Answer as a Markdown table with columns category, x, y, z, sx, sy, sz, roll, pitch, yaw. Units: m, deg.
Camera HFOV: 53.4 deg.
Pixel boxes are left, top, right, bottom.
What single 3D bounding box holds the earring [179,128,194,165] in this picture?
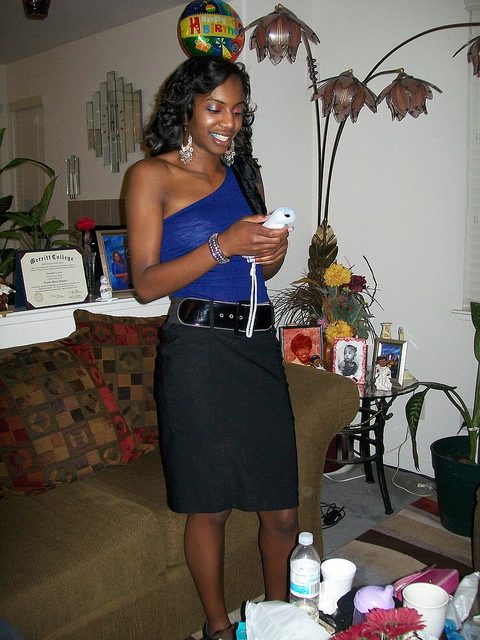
| category | x | y | z | sx | sy | sz | roll | pitch | yaw |
| --- | --- | --- | --- | --- | --- | --- | --- | --- | --- |
| earring | -0.113 | -0.366 | 1.013 | 0.025 | 0.069 | 0.017 | -7 | 11 | -37 |

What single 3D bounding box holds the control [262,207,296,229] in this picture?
| category | x | y | z | sx | sy | sz | roll | pitch | yaw |
| --- | --- | --- | --- | --- | --- | --- | --- | --- | --- |
| control | 0.072 | -0.184 | 0.857 | 0.049 | 0.036 | 0.023 | -30 | -16 | 0 |

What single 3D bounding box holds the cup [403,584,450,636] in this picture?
| category | x | y | z | sx | sy | sz | roll | pitch | yaw |
| --- | --- | --- | --- | --- | --- | --- | --- | --- | --- |
| cup | 0.253 | 0.387 | 0.651 | 0.057 | 0.049 | 0.087 | 3 | 10 | 23 |

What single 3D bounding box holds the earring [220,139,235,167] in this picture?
| category | x | y | z | sx | sy | sz | roll | pitch | yaw |
| --- | --- | --- | --- | --- | --- | --- | --- | --- | --- |
| earring | -0.023 | -0.393 | 1.135 | 0.028 | 0.069 | 0.083 | 2 | 9 | 14 |

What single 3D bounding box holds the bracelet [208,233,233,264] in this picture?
| category | x | y | z | sx | sy | sz | roll | pitch | yaw |
| --- | --- | --- | --- | --- | --- | --- | --- | --- | --- |
| bracelet | -0.043 | -0.125 | 0.872 | 0.020 | 0.051 | 0.043 | -30 | -28 | 26 |

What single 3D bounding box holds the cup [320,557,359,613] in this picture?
| category | x | y | z | sx | sy | sz | roll | pitch | yaw |
| --- | --- | --- | --- | --- | --- | --- | --- | --- | --- |
| cup | 0.150 | 0.411 | 0.771 | 0.065 | 0.063 | 0.062 | 1 | 6 | 0 |

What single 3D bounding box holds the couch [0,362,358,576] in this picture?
| category | x | y | z | sx | sy | sz | roll | pitch | yaw |
| --- | --- | --- | --- | --- | --- | --- | --- | --- | --- |
| couch | -0.196 | 0.372 | 1.211 | 0.321 | 0.300 | 0.733 | 11 | 25 | 34 |

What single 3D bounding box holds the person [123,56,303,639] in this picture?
| category | x | y | z | sx | sy | sz | roll | pitch | yaw |
| --- | --- | --- | --- | --- | --- | --- | --- | --- | --- |
| person | -0.041 | 0.087 | 1.059 | 0.338 | 1.246 | 0.389 | 0 | 9 | 5 |
